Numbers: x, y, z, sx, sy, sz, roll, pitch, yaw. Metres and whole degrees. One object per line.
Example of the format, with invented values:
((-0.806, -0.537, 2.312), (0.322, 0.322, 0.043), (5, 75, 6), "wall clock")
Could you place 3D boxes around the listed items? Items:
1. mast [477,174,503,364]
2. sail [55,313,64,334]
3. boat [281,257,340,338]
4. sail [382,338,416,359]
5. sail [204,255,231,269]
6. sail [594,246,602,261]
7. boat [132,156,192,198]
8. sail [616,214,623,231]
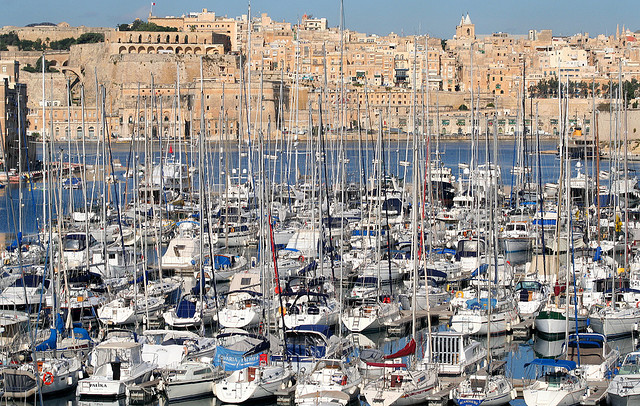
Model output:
((7.875, 3.591, 70.843), (1.422, 6.304, 1.084), (2, 2, 3), "mast")
((-12.022, 5.609, 70.799), (0.395, 0.915, 1.085), (-3, 2, -10), "sail")
((-0.562, 4.457, 73.723), (2.644, 2.882, 7.009), (4, 13, 3), "boat")
((3.752, 6.567, 69.229), (1.529, 0.777, 0.370), (-4, 3, -38), "sail")
((-5.113, 2.933, 76.637), (1.307, 0.624, 0.556), (-3, 3, -2), "sail")
((13.856, 2.495, 76.508), (0.392, 0.712, 1.260), (-2, 3, 10), "sail")
((-9.465, -1.424, 89.491), (1.703, 2.034, 5.410), (7, 14, 8), "boat")
((15.662, 1.067, 80.439), (0.272, 0.785, 1.565), (-2, 3, 12), "sail")
